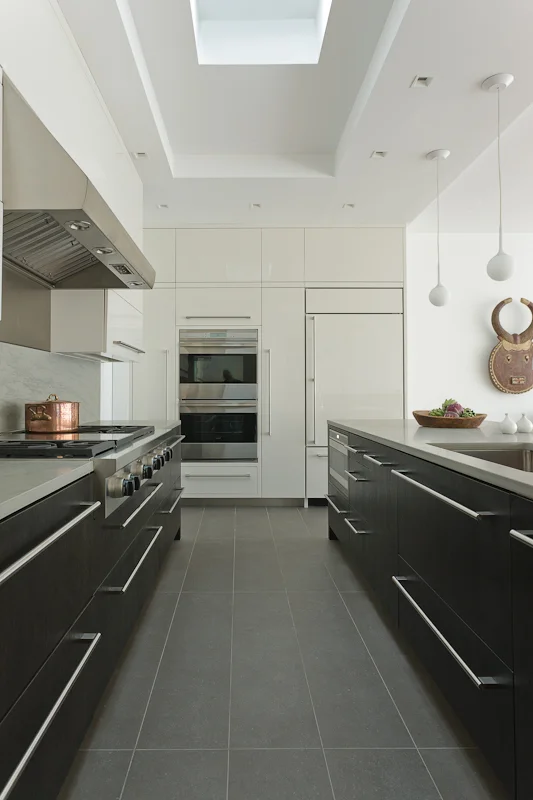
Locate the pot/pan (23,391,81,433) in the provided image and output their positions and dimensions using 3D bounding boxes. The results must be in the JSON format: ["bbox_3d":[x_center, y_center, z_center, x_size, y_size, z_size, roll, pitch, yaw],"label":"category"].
[{"bbox_3d":[-0.908,0.059,2.324,0.138,0.138,0.165,0,-5,-4],"label":"pot/pan"}]

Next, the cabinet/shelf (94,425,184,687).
[{"bbox_3d":[-0.510,0.467,2.259,0.290,0.759,0.177,7,14,-2],"label":"cabinet/shelf"}]
